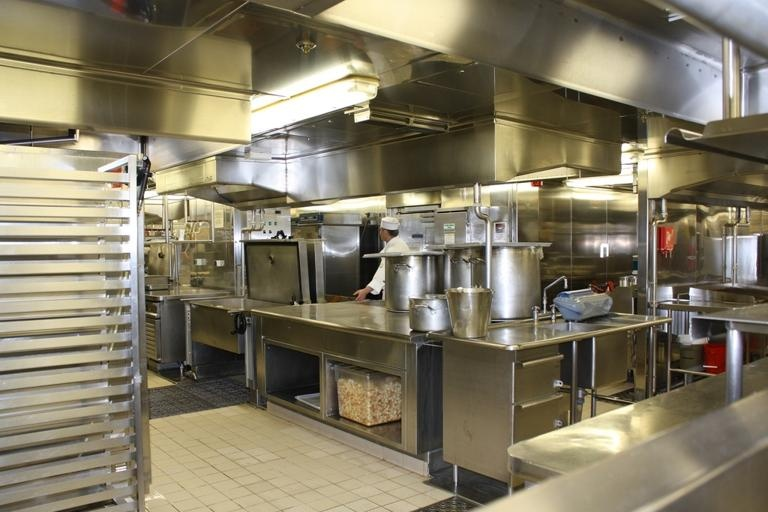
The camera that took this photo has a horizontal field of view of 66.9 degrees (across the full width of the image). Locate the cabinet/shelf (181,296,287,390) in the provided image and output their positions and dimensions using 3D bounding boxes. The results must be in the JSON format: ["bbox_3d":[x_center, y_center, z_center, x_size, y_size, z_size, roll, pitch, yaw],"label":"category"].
[{"bbox_3d":[-1.689,1.050,7.118,1.052,0.856,1.389,1,-1,-45],"label":"cabinet/shelf"}]

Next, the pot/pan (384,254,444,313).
[{"bbox_3d":[0.171,0.222,5.322,0.596,0.452,0.613,-1,0,30],"label":"pot/pan"}]

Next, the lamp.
[{"bbox_3d":[-0.469,-0.963,4.257,0.226,0.115,1.243,7,-6,-35],"label":"lamp"}]

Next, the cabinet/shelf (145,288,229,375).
[{"bbox_3d":[-2.561,0.887,7.814,1.109,1.210,1.495,1,-1,-37],"label":"cabinet/shelf"}]

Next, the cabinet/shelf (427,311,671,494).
[{"bbox_3d":[1.364,1.129,4.679,0.738,0.997,2.034,-9,-6,43],"label":"cabinet/shelf"}]

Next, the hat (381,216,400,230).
[{"bbox_3d":[0.073,-0.348,6.233,0.162,0.138,0.196,2,5,38],"label":"hat"}]

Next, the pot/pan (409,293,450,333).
[{"bbox_3d":[0.357,0.435,4.481,0.306,0.195,0.307,-1,0,21],"label":"pot/pan"}]

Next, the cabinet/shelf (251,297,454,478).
[{"bbox_3d":[0.040,1.106,5.545,1.537,1.067,2.619,-1,0,-39],"label":"cabinet/shelf"}]

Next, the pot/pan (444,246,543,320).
[{"bbox_3d":[0.881,0.194,4.819,0.741,0.581,0.733,-1,-2,38],"label":"pot/pan"}]
